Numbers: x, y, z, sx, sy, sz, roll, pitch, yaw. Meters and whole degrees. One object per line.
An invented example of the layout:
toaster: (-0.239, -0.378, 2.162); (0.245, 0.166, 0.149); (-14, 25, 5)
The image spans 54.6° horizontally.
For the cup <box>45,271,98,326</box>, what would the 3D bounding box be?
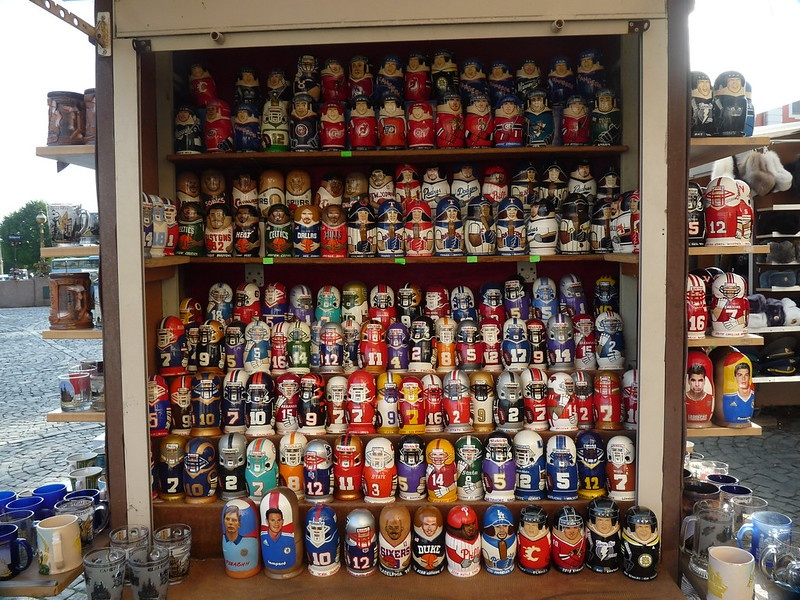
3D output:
cup: (-1.675, 0.011, 3.948); (0.216, 0.291, 0.204); (-1, 2, 0)

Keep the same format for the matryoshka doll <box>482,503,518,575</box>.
matryoshka doll: (0.475, 1.148, 3.705); (0.171, 0.317, 0.074); (-2, 1, 4)

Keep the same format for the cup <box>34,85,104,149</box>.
cup: (-1.687, -0.917, 4.015); (0.249, 0.270, 0.247); (0, 7, 0)

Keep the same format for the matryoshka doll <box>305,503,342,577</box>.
matryoshka doll: (-0.372, 1.160, 3.770); (0.180, 0.309, 0.181); (1, 10, 18)

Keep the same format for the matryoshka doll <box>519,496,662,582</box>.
matryoshka doll: (0.960, 1.137, 3.729); (0.568, 0.360, 0.173); (-2, 1, 10)

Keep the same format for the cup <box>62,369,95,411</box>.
cup: (-1.658, 0.478, 3.967); (0.142, 0.163, 0.147); (-4, -1, 0)

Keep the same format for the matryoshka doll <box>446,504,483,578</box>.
matryoshka doll: (0.302, 1.147, 3.696); (0.171, 0.325, 0.083); (-2, 1, 2)

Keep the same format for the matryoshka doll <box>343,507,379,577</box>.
matryoshka doll: (-0.187, 1.159, 3.720); (0.162, 0.217, 0.116); (-2, 1, -5)

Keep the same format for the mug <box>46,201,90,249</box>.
mug: (-1.667, -0.365, 3.902); (0.210, 0.209, 0.173); (3, 8, 13)
